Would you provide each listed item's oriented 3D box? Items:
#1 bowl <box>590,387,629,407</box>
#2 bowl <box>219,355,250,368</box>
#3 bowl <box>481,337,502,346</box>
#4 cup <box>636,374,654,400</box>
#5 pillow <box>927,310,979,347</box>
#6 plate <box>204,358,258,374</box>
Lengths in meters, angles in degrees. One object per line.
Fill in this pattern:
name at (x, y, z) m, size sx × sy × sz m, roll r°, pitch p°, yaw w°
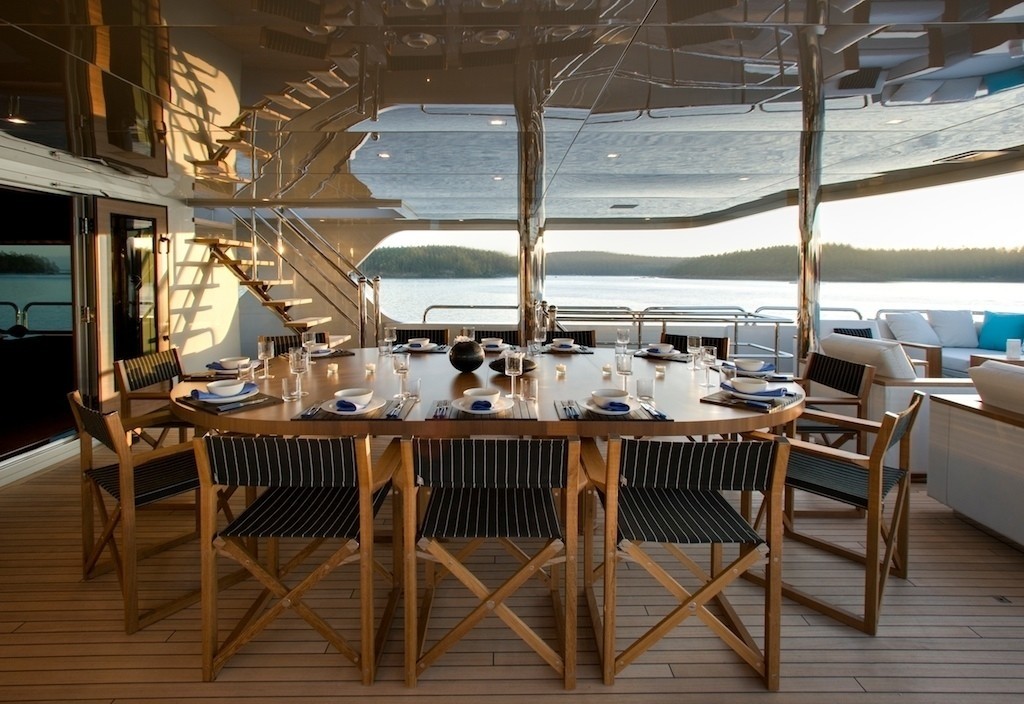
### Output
bowl at (0.528, 0.236, 4.024) m, size 0.122 × 0.049 × 0.114 m, roll 0°, pitch 5°, yaw 0°
bowl at (-2.013, 0.066, 5.444) m, size 0.169 × 0.060 × 0.163 m, roll -1°, pitch 8°, yaw 0°
bowl at (-0.160, -0.065, 5.617) m, size 0.127 × 0.041 × 0.087 m, roll -2°, pitch 8°, yaw 1°
cup at (0.717, 0.197, 4.091) m, size 0.114 × 0.114 × 0.118 m, roll 0°, pitch 6°, yaw 0°
pillow at (5.178, -0.267, 8.777) m, size 0.475 × 0.418 × 0.163 m, roll -4°, pitch -13°, yaw -1°
plate at (-1.757, 0.090, 4.808) m, size 0.196 × 0.049 × 0.198 m, roll 2°, pitch 4°, yaw 5°
